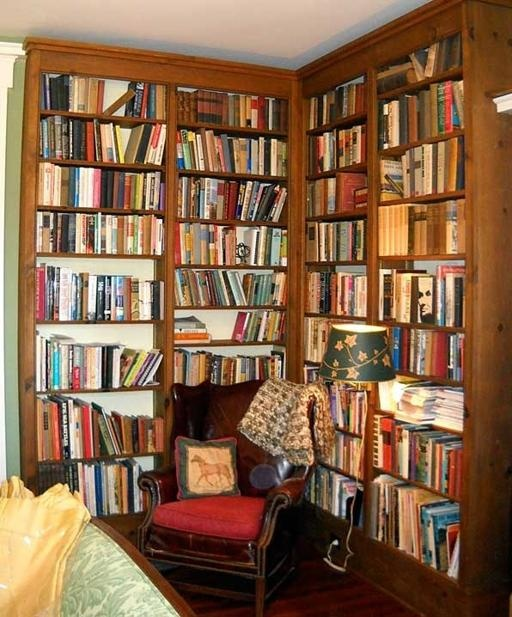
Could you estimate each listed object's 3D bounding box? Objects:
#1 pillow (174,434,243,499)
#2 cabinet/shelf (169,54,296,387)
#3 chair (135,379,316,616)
[{"bbox_3d":[-0.266,0.888,3.077,0.333,0.288,0.107,4,-29,-17],"label":"pillow"},{"bbox_3d":[-0.154,-0.428,3.768,1.030,2.173,0.337,0,9,-9],"label":"cabinet/shelf"},{"bbox_3d":[-0.065,0.995,3.220,1.151,1.320,1.011,-2,-18,11],"label":"chair"}]
